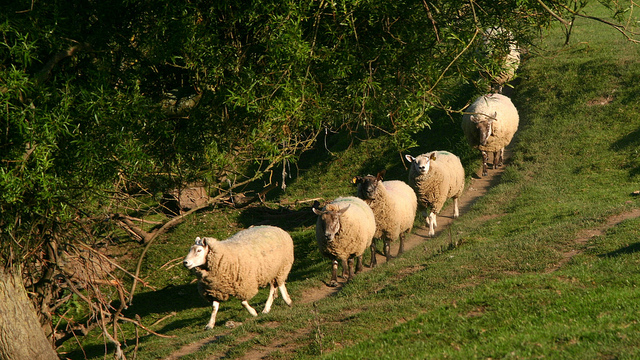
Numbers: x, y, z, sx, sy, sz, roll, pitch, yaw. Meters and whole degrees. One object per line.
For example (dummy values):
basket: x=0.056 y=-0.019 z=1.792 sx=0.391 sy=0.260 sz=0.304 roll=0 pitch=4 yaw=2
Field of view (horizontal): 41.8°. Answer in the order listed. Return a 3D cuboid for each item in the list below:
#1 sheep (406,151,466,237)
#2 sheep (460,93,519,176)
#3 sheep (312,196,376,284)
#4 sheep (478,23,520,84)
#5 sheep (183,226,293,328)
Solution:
sheep: x=5.055 y=0.373 z=37.293 sx=2.251 sy=3.747 sz=5.477 roll=-1 pitch=9 yaw=21
sheep: x=8.019 y=-2.226 z=39.846 sx=2.459 sy=3.430 sz=5.060 roll=1 pitch=21 yaw=16
sheep: x=0.915 y=2.409 z=33.446 sx=2.094 sy=3.166 sz=4.418 roll=-3 pitch=-1 yaw=15
sheep: x=6.070 y=-4.340 z=28.661 sx=1.229 sy=2.350 sz=5.525 roll=-1 pitch=3 yaw=12
sheep: x=-3.015 y=3.675 z=31.850 sx=5.184 sy=3.567 sz=2.314 roll=-8 pitch=11 yaw=-44
